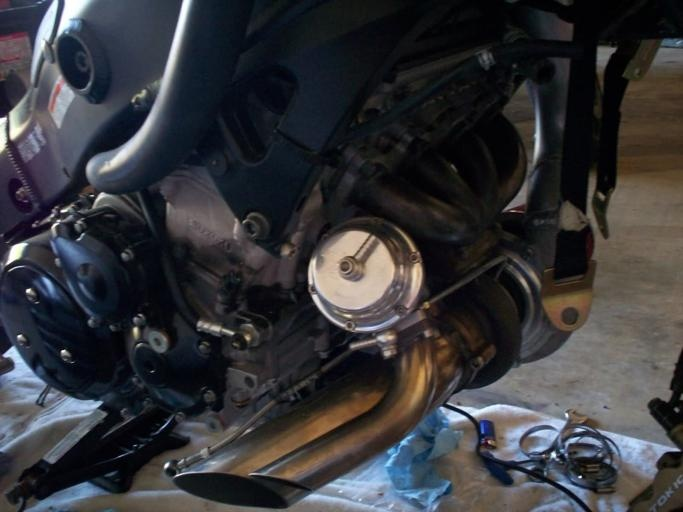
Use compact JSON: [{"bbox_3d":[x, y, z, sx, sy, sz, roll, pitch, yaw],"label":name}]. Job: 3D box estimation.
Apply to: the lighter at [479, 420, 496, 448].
[{"bbox_3d":[0.392,0.483,1.575,0.038,0.036,0.057,7,38,4],"label":"lighter"}]
